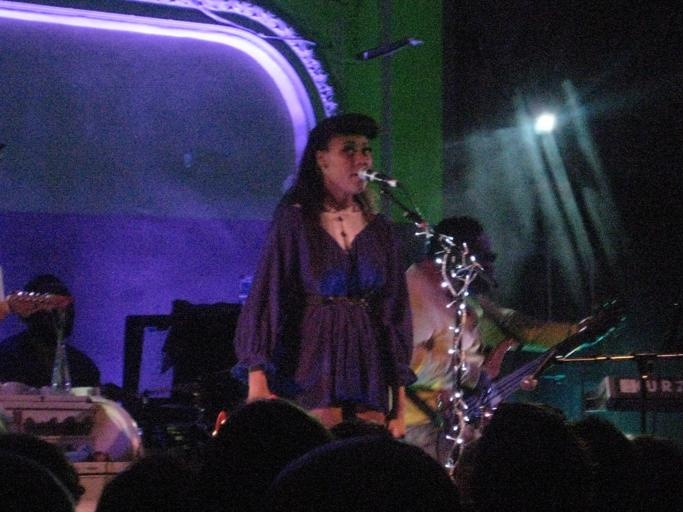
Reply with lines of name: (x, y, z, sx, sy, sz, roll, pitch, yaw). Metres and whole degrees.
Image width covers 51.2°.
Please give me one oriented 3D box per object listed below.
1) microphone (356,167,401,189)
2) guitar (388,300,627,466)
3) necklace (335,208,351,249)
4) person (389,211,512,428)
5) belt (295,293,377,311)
microphone: (0.165, -0.351, 3.205, 0.070, 0.061, 0.244, -2, 8, -39)
guitar: (0.911, 0.688, 3.932, 1.155, 0.402, 0.172, -37, -23, 26)
necklace: (0.013, -0.127, 3.259, 0.033, 0.229, 0.025, 1, -36, -14)
person: (0.752, 0.348, 4.955, 0.865, 1.422, 0.316, 20, -52, 0)
belt: (0.001, 0.204, 3.206, 0.318, 0.057, 0.094, 3, -10, -11)
